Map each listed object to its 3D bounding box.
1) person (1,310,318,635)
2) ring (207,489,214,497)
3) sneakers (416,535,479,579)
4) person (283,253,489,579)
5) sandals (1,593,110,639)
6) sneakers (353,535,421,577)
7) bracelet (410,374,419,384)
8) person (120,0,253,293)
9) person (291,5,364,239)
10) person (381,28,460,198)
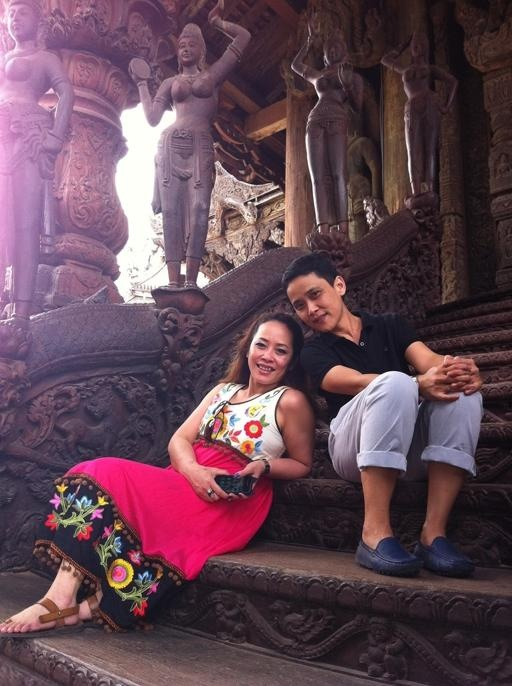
[{"bbox_3d":[-0.228,0.311,1.873,0.388,0.841,1.005,-5,-4,44],"label":"person"},{"bbox_3d":[-0.128,0.425,1.825,0.018,0.024,0.009,-22,-5,36],"label":"ring"},{"bbox_3d":[0.421,0.479,1.450,0.059,0.063,0.154,4,-11,-20],"label":"sneakers"},{"bbox_3d":[0.379,0.150,1.793,0.386,0.905,0.549,8,-23,-24],"label":"person"},{"bbox_3d":[-0.493,0.672,1.588,0.231,0.076,0.079,12,-11,-28],"label":"sandals"},{"bbox_3d":[0.288,0.490,1.464,0.060,0.053,0.142,8,-14,-24],"label":"sneakers"},{"bbox_3d":[0.403,0.092,1.644,0.015,0.019,0.017,9,-26,2],"label":"bracelet"},{"bbox_3d":[-0.305,-0.999,3.101,0.573,1.526,0.402,-1,-3,-11],"label":"person"},{"bbox_3d":[0.446,-1.296,3.796,0.383,1.475,0.590,-2,-3,-3],"label":"person"},{"bbox_3d":[1.305,-1.820,5.142,0.505,1.712,1.518,-3,-3,15],"label":"person"}]
